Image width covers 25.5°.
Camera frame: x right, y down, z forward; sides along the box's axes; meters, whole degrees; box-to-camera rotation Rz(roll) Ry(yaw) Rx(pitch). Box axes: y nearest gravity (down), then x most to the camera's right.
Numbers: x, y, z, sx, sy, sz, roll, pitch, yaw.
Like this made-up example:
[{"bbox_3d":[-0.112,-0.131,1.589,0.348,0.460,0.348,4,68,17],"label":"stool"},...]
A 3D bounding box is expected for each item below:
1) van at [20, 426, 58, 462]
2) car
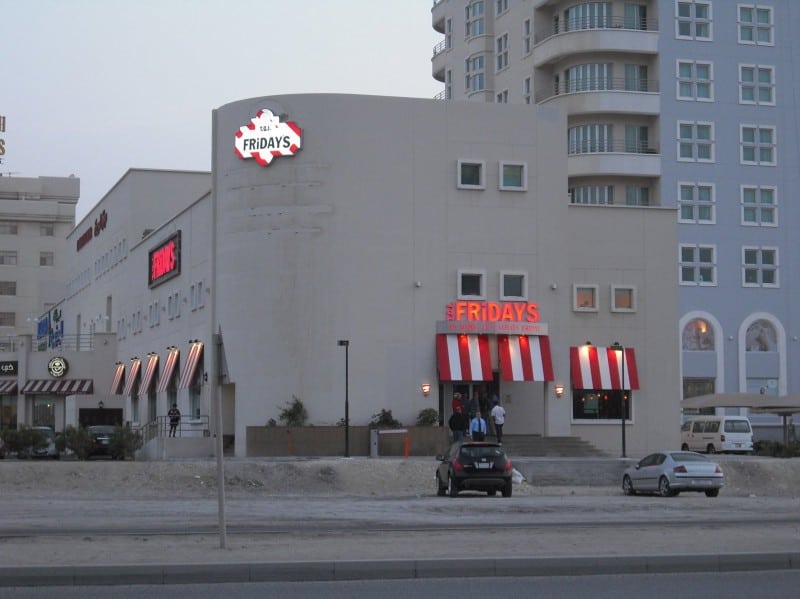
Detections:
[{"bbox_3d":[-19.648,7.808,97.338,1.574,1.538,2.892,1,-10,-14],"label":"van"},{"bbox_3d":[12.348,8.029,81.164,4.173,2.038,1.607,-4,-10,26],"label":"car"}]
